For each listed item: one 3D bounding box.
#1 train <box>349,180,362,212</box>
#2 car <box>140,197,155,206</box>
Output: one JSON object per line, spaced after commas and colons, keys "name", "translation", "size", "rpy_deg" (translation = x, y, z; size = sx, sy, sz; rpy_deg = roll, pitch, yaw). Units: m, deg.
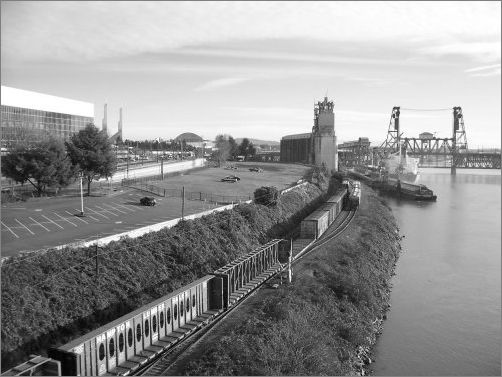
{"name": "train", "translation": [21.331, 1.133, 105.530], "size": [2.669, 3.477, 21.400], "rpy_deg": [3, 12, 10]}
{"name": "car", "translation": [-13.484, 1.687, 68.872], "size": [1.633, 0.877, 1.023], "rpy_deg": [14, 13, 35]}
